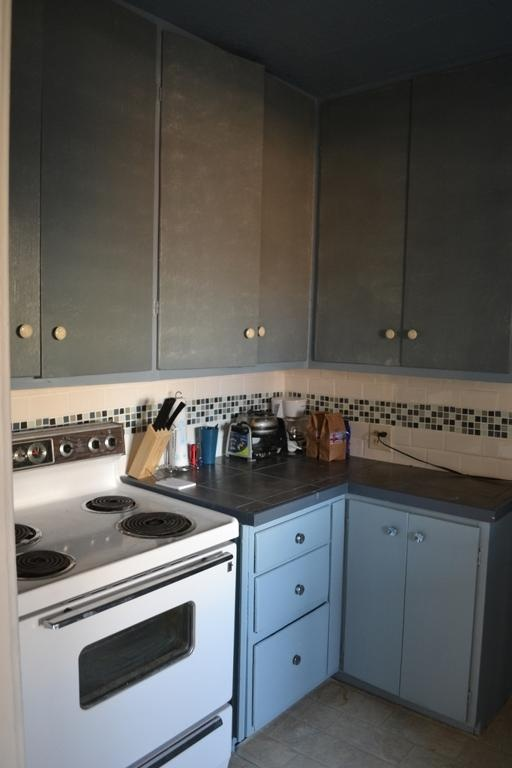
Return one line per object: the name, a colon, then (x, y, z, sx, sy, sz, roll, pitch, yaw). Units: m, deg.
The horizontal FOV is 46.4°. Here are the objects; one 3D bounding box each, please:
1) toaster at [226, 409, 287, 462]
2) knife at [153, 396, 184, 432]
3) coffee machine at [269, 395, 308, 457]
toaster: (0.003, 0.208, 2.559, 0.161, 0.194, 0.241, 11, 13, 37)
knife: (-0.310, 0.107, 2.107, 0.055, 0.052, 0.210, 29, -28, -7)
coffee machine: (0.148, 0.184, 2.740, 0.150, 0.257, 0.160, -1, 14, -10)
